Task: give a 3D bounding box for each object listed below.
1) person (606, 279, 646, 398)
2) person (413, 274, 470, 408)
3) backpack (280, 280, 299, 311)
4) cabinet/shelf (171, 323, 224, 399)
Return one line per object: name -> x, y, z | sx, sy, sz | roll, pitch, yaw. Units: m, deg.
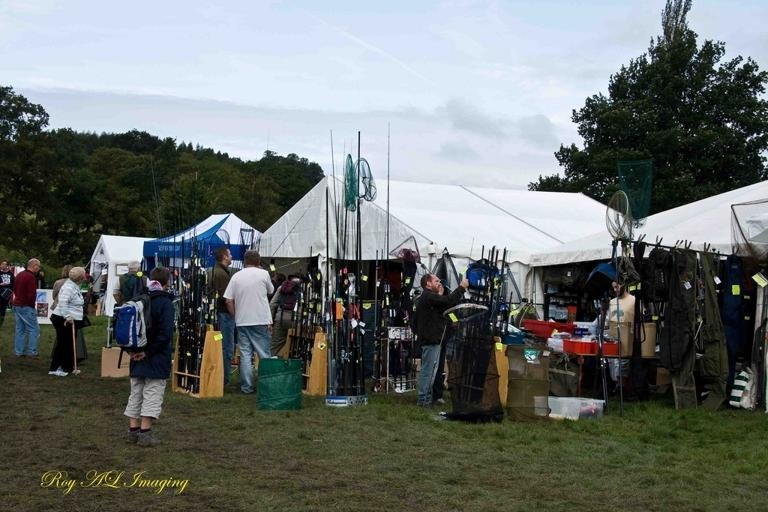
person -> 4.280, 1.453, 16.064 | 0.634, 2.018, 0.566 | -3, -3, -17
person -> 0.987, 1.360, 15.838 | 0.726, 2.539, 0.960 | 0, 0, 39
backpack -> -1.860, 0.778, 17.687 | 0.438, 0.683, 0.354 | 4, -6, 3
cabinet/shelf -> -3.408, 1.836, 16.175 | 0.907, 1.368, 0.491 | 3, 4, 38
